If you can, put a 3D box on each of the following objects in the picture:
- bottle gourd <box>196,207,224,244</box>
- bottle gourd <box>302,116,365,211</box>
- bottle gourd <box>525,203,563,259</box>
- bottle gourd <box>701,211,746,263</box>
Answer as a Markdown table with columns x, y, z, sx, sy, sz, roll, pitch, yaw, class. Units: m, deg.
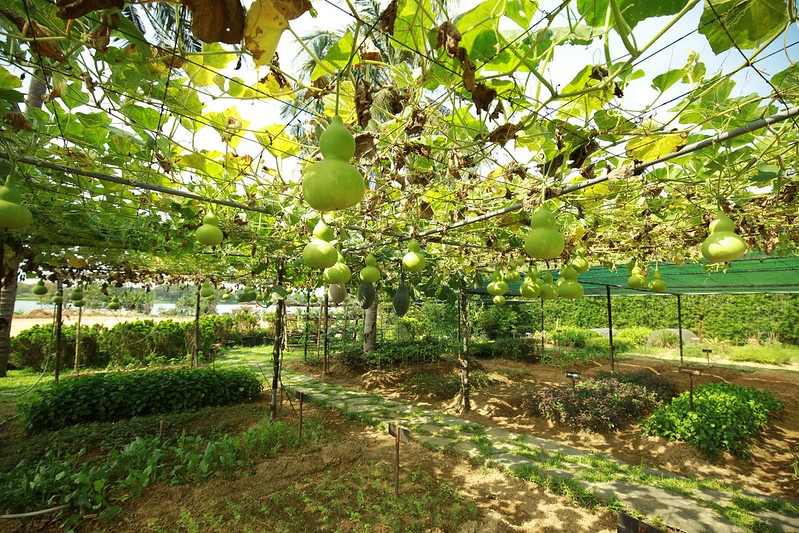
| x | y | z | sx | sy | sz | roll | pitch | yaw | class |
| --- | --- | --- | --- | --- | --- | --- | --- | --- | --- |
| -2.087 | -0.433 | 4.919 | 0.243 | 0.391 | 0.292 | 2 | -9 | -14 | bottle gourd |
| -0.557 | -0.847 | 3.734 | 0.545 | 0.734 | 0.483 | -4 | 16 | -27 | bottle gourd |
| 1.363 | -0.322 | 4.231 | 0.398 | 0.513 | 0.387 | -5 | 10 | -1 | bottle gourd |
| 3.186 | -0.313 | 4.425 | 0.405 | 0.525 | 0.401 | -7 | 3 | -34 | bottle gourd |
